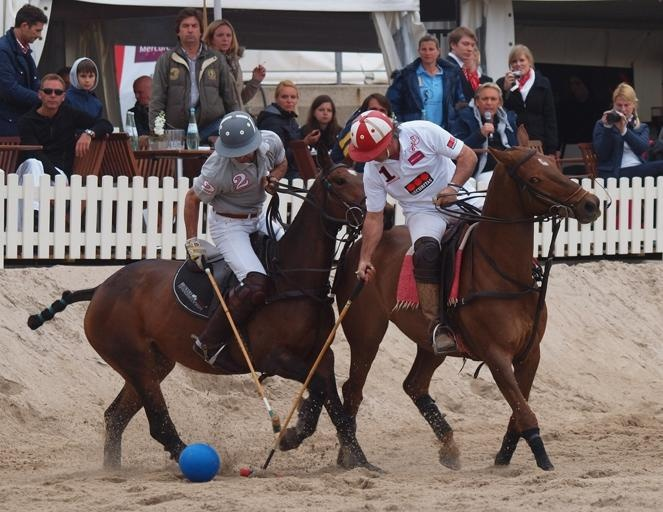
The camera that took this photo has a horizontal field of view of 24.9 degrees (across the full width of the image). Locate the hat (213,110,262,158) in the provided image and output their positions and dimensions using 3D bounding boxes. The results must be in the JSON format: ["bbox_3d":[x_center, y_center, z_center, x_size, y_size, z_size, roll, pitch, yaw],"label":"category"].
[{"bbox_3d":[-0.967,-1.275,15.890,0.483,0.476,0.319,3,6,-5],"label":"hat"}]

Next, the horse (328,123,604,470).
[{"bbox_3d":[1.410,0.569,16.458,1.035,3.634,4.159,-6,1,-38],"label":"horse"}]

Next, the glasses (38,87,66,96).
[{"bbox_3d":[-3.560,-2.108,19.265,0.275,0.105,0.140,2,7,-16],"label":"glasses"}]

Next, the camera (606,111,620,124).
[{"bbox_3d":[3.912,-1.928,20.882,0.125,0.210,0.180,2,7,13],"label":"camera"}]

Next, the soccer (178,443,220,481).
[{"bbox_3d":[-1.384,2.184,15.856,0.418,0.491,0.403,-5,20,2],"label":"soccer"}]

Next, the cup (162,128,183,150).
[{"bbox_3d":[-1.972,-1.473,19.146,0.233,0.290,0.239,0,-2,0],"label":"cup"}]

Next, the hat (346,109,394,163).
[{"bbox_3d":[0.385,-1.313,15.976,0.446,0.341,0.641,-4,41,24],"label":"hat"}]

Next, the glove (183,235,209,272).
[{"bbox_3d":[-1.420,-0.012,16.143,0.122,0.361,0.232,-24,6,-40],"label":"glove"}]

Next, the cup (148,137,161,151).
[{"bbox_3d":[-2.262,-1.443,19.283,0.161,0.185,0.174,2,2,0],"label":"cup"}]

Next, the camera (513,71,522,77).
[{"bbox_3d":[2.540,-2.488,20.503,0.077,0.077,0.091,-1,3,-12],"label":"camera"}]

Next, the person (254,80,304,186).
[{"bbox_3d":[-0.627,-1.514,19.995,0.670,1.620,0.476,-16,23,-36],"label":"person"}]
